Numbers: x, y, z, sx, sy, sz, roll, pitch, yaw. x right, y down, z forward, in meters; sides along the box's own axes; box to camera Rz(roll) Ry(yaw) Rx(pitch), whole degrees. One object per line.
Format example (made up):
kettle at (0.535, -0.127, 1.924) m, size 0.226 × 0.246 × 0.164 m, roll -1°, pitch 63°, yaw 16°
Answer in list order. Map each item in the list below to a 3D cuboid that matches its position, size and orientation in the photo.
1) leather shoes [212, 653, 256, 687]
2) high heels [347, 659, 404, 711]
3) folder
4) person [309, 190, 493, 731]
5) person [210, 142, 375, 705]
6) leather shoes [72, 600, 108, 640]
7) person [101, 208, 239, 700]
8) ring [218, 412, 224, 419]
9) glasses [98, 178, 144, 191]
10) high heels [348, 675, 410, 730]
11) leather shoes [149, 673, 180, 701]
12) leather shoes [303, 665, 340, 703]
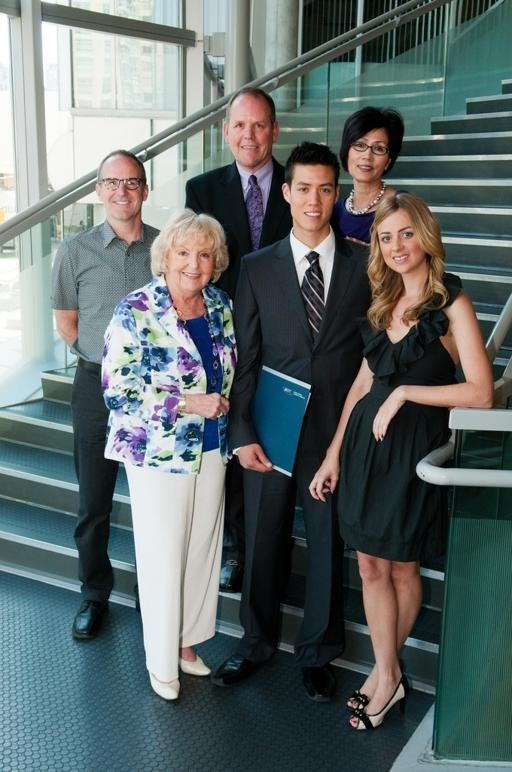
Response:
leather shoes at (-0.067, 0.929, 2.101) m, size 0.060 × 0.057 × 0.148 m, roll 26°, pitch 21°, yaw 36°
high heels at (0.398, 0.912, 1.941) m, size 0.247 × 0.101 × 0.083 m, roll -7°, pitch 5°, yaw -41°
folder at (0.075, 0.101, 1.839) m, size 0.034 × 0.307 × 0.247 m, roll -13°, pitch 35°, yaw -38°
person at (0.400, 0.249, 1.732) m, size 0.279 × 1.536 × 0.518 m, roll -5°, pitch 10°, yaw -26°
person at (0.135, 0.158, 1.947) m, size 0.509 × 1.674 × 0.428 m, roll 1°, pitch 13°, yaw 2°
leather shoes at (-0.631, 0.890, 2.387) m, size 0.060 × 0.069 × 0.173 m, roll 4°, pitch 7°, yaw 0°
person at (-0.240, 0.249, 1.893) m, size 0.407 × 1.503 × 0.246 m, roll -3°, pitch 9°, yaw -13°
ring at (-0.103, 0.088, 1.864) m, size 0.019 × 0.021 × 0.025 m, roll 0°, pitch 12°, yaw -3°
glasses at (-0.480, -0.712, 2.240) m, size 0.152 × 0.051 × 0.065 m, roll -2°, pitch 9°, yaw -10°
high heels at (0.375, 0.931, 1.905) m, size 0.196 × 0.095 × 0.110 m, roll -7°, pitch 12°, yaw -26°
leather shoes at (-0.291, 0.957, 1.992) m, size 0.047 × 0.050 × 0.125 m, roll -4°, pitch 12°, yaw -31°
leather shoes at (0.210, 0.945, 2.009) m, size 0.056 × 0.054 × 0.137 m, roll -1°, pitch 4°, yaw -5°
